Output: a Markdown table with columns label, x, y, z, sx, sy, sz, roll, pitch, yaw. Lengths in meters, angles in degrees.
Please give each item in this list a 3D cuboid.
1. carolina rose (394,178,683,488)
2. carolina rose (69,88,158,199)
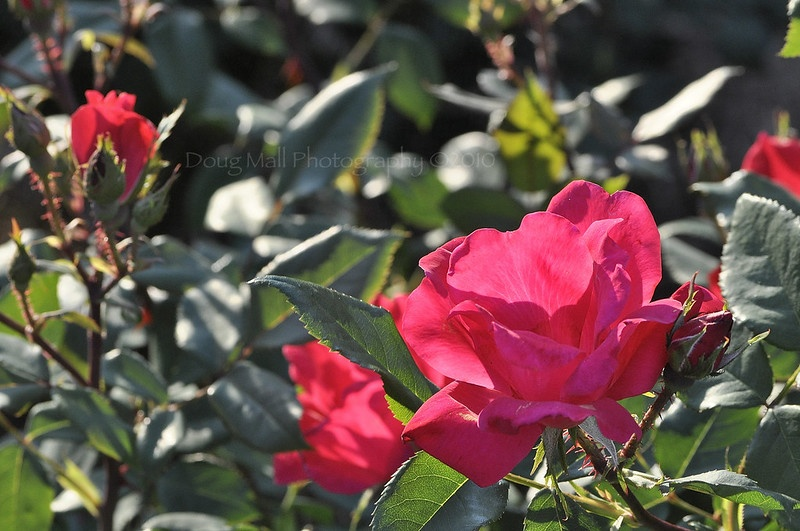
| label | x | y | z | sx | sy | sz | roll | pitch | yaw |
| --- | --- | --- | --- | --- | --- | --- | --- | --- | --- |
| carolina rose | 0.159 | 0.116 | 1.434 | 0.359 | 0.172 | 0.390 | -2 | 5 | 37 |
| carolina rose | -0.369 | -0.162 | 1.498 | 0.107 | 0.108 | 0.095 | -39 | 48 | -19 |
